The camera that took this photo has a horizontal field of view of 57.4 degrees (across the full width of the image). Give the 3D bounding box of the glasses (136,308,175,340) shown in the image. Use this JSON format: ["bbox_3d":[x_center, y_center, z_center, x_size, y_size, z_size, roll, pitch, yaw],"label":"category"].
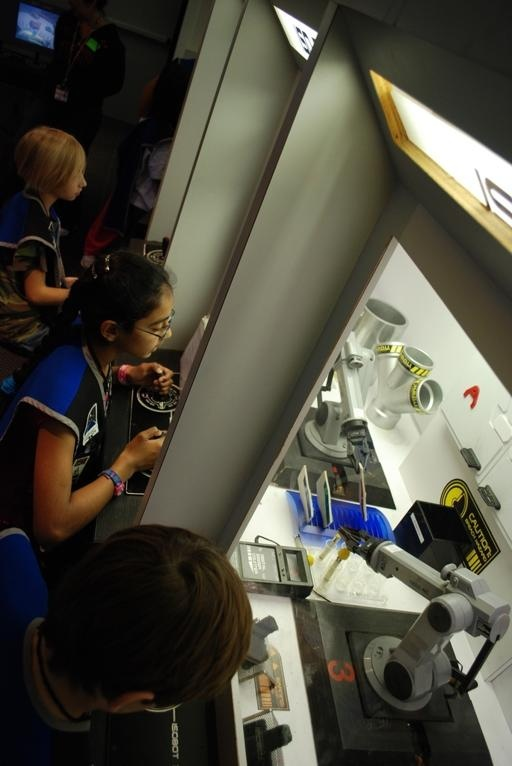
[{"bbox_3d":[-0.253,-0.142,1.170,0.076,0.025,0.082,1,36,3],"label":"glasses"}]

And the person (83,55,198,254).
[{"bbox_3d":[-0.672,-1.201,2.719,0.317,1.317,0.591,23,23,-25],"label":"person"}]

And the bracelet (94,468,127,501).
[{"bbox_3d":[-0.344,0.241,1.143,0.045,0.074,0.078,-36,92,-41],"label":"bracelet"}]
